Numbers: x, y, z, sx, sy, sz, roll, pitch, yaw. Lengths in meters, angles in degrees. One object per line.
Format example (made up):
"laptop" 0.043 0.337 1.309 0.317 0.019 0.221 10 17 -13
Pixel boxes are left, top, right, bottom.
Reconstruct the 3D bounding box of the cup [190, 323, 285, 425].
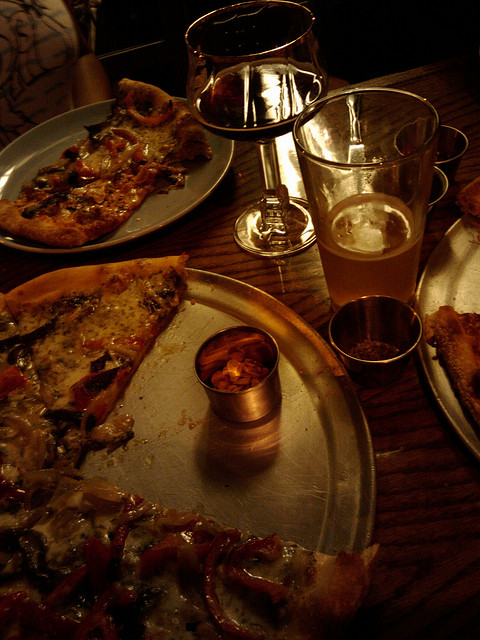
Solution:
"cup" 0.004 0.085 0.894 0.158 0.099 0.153 -5 58 8

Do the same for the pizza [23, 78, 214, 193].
"pizza" -0.377 -0.490 1.678 0.475 0.110 0.419 -31 57 -25

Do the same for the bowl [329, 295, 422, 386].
"bowl" 0.202 0.034 0.798 0.132 0.073 0.115 -10 43 0
